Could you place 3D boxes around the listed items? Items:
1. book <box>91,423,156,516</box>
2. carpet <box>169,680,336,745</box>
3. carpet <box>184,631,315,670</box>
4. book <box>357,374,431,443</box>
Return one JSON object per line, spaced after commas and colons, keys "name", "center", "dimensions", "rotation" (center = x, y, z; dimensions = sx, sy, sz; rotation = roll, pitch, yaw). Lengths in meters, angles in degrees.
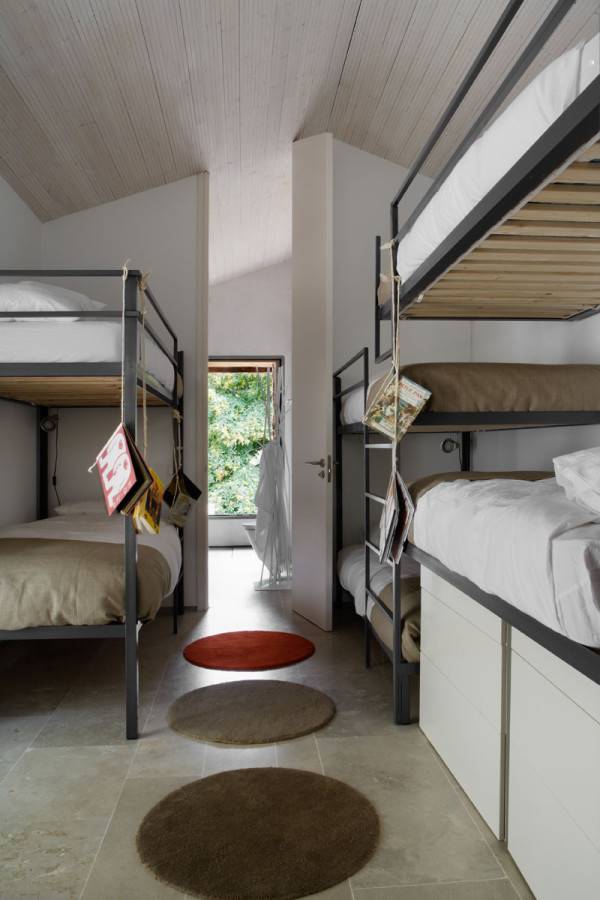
{"name": "book", "center": [-0.575, 0.101, 2.004], "dimensions": [0.055, 0.258, 0.245], "rotation": [6, -41, -39]}
{"name": "carpet", "center": [-0.168, 0.937, 2.330], "dimensions": [0.604, 0.020, 0.595], "rotation": [0, -2, -12]}
{"name": "carpet", "center": [-0.244, 0.956, 3.089], "dimensions": [0.625, 0.022, 0.703], "rotation": [-1, -2, 1]}
{"name": "book", "center": [0.323, -0.165, 2.209], "dimensions": [0.208, 0.238, 0.069], "rotation": [31, 15, -2]}
